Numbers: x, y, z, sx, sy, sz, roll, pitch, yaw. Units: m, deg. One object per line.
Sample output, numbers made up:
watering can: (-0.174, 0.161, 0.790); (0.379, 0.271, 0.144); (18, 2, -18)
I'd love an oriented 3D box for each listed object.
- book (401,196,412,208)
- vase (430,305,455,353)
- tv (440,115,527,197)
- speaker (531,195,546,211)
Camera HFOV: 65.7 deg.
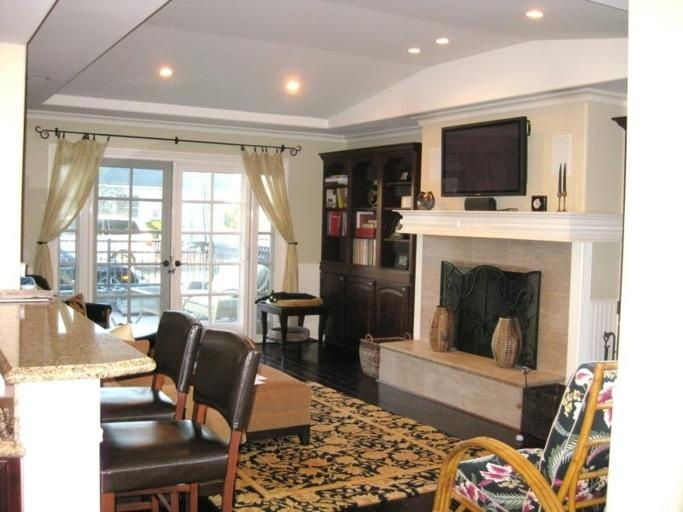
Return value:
book: (0.784, -0.654, 6.411); (0.093, 0.171, 0.176); (3, -2, -25)
vase: (1.018, 0.746, 5.361); (0.249, 0.457, 0.143); (2, 4, 4)
tv: (1.387, -0.950, 5.066); (0.086, 0.617, 0.857); (-3, 4, -37)
speaker: (1.749, -0.464, 4.682); (0.049, 0.136, 0.140); (2, -1, -38)
